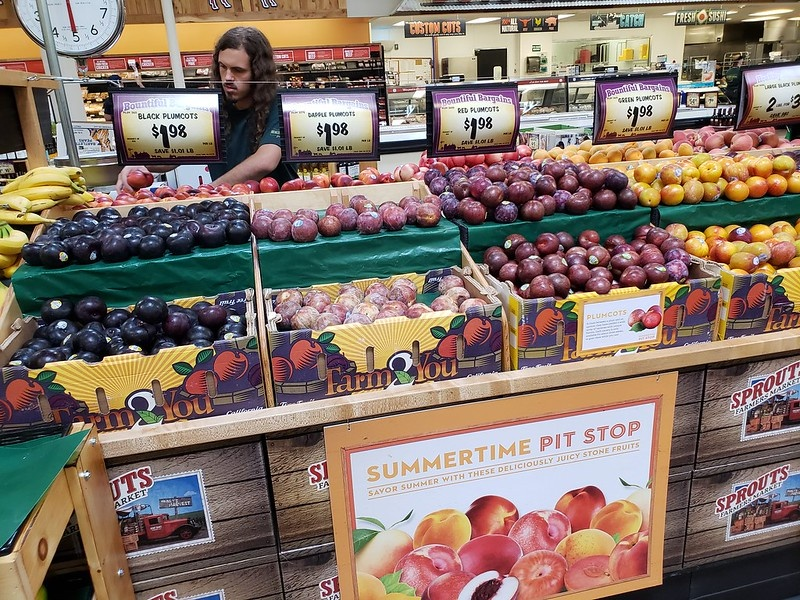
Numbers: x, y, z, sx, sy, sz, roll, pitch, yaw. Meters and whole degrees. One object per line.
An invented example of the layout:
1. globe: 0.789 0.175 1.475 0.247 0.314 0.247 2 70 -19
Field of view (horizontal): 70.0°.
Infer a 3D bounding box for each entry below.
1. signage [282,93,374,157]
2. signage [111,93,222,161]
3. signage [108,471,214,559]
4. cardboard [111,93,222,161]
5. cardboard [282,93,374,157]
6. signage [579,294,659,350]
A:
1. signage: -0.416 -0.969 3.131 0.384 0.254 0.052 -1 19 -6
2. signage: -1.244 -0.936 3.055 0.399 0.265 0.052 0 17 -7
3. signage: -0.790 0.696 1.880 0.293 0.277 0.015 -12 15 -12
4. cardboard: -1.244 -0.936 3.055 0.399 0.265 0.052 0 17 -7
5. cardboard: -0.416 -0.969 3.131 0.384 0.254 0.052 -1 19 -6
6. signage: 0.803 0.077 2.184 0.220 0.135 0.011 -9 20 -10
